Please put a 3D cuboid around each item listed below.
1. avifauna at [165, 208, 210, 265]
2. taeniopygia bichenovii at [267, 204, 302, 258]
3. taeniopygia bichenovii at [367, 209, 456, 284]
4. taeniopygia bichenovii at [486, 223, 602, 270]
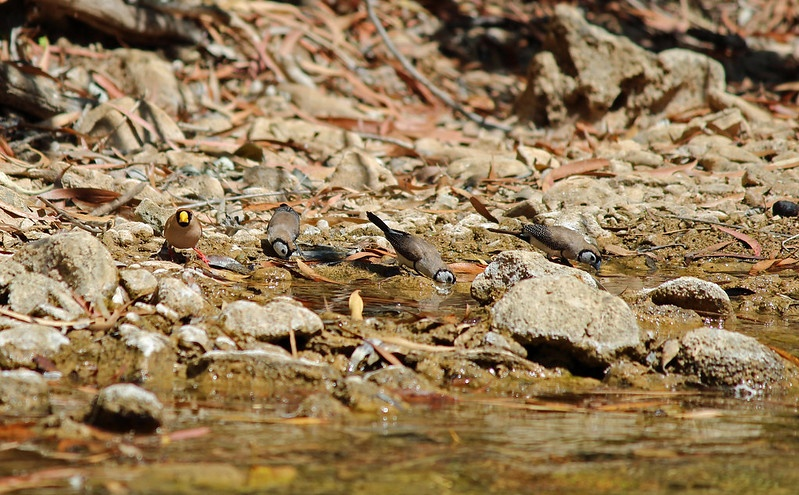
[{"bbox_3d":[-1.741,-0.088,7.265,0.355,0.457,0.492,1,6,-14],"label":"avifauna"},{"bbox_3d":[-1.022,-0.135,7.926,0.253,0.219,0.548,0,22,-4],"label":"taeniopygia bichenovii"},{"bbox_3d":[0.081,0.008,7.685,0.294,0.334,1.112,-15,50,-42],"label":"taeniopygia bichenovii"},{"bbox_3d":[1.306,-0.077,8.013,1.164,0.331,0.314,24,24,30],"label":"taeniopygia bichenovii"}]
